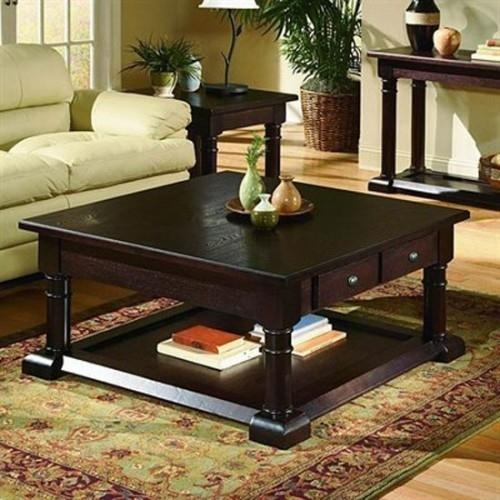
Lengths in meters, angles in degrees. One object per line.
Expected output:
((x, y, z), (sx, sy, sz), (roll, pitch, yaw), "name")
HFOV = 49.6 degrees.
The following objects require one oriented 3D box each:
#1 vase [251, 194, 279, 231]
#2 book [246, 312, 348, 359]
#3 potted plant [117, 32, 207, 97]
((0.036, -0.111, 1.576), (0.097, 0.092, 0.081), (3, 16, 2), "vase")
((0.197, 0.273, 1.718), (0.213, 0.039, 0.209), (12, 18, 39), "book")
((-0.568, -1.235, 3.717), (0.593, 0.278, 0.471), (1, 20, -15), "potted plant")
